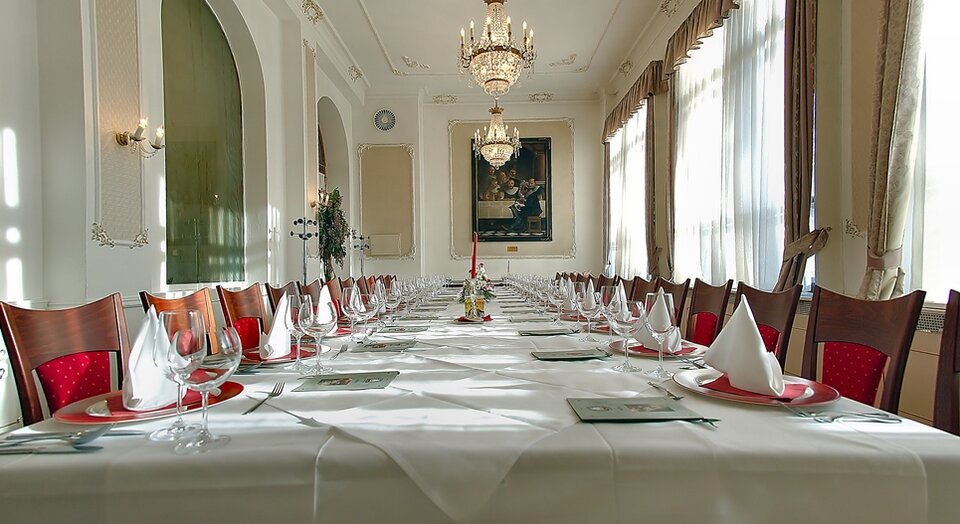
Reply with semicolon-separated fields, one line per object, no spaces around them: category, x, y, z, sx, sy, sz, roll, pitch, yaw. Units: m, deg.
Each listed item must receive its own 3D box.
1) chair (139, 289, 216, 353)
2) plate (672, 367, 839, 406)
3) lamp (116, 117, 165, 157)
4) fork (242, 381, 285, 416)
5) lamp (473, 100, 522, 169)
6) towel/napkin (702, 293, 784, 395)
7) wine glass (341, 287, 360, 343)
chair;-1.914;0.369;3.869;0.340;0.551;0.318;-6;-7;29
plate;1.664;0.712;3.647;0.633;0.056;0.684;14;-25;-4
lamp;-3.491;-1.269;6.291;0.354;0.312;0.410;2;6;19
fork;-1.242;0.777;3.650;0.061;0.067;0.473;10;20;12
lamp;0.306;-2.155;10.781;0.809;1.115;0.842;-2;-2;44
towel/napkin;1.683;0.518;3.890;0.557;0.688;0.341;-1;-7;41
wine glass;-0.885;0.352;4.237;0.139;0.390;0.140;2;18;-3
